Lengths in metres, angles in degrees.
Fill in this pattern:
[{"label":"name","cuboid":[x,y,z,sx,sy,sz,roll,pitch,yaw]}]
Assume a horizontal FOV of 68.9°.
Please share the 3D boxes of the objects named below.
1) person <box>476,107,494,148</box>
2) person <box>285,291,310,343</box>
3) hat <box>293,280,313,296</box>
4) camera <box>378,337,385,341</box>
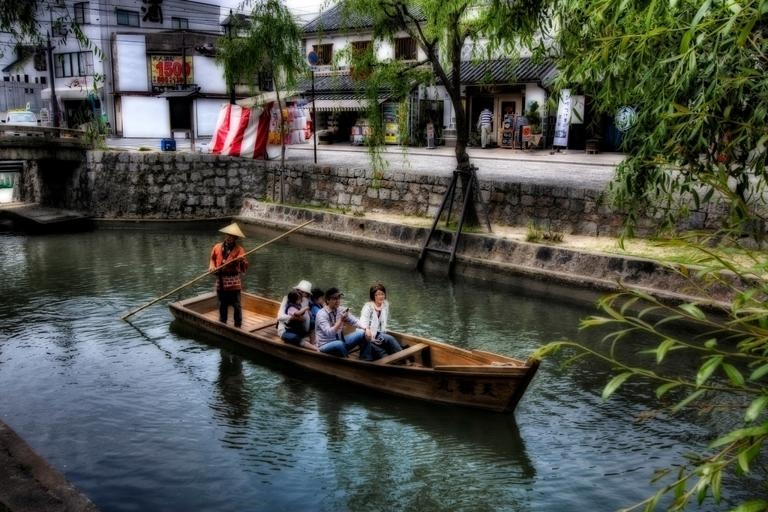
[{"label":"person","cuboid":[5.381,-6.840,29.706,0.734,2.170,1.261,4,11,9]},{"label":"person","cuboid":[-1.563,1.106,10.098,0.567,0.839,0.845,-2,13,-17]},{"label":"hat","cuboid":[-1.483,0.565,10.423,0.396,0.167,0.433,20,3,-21]},{"label":"camera","cuboid":[-0.044,1.387,9.467,0.123,0.095,0.064,2,-10,-10]}]
